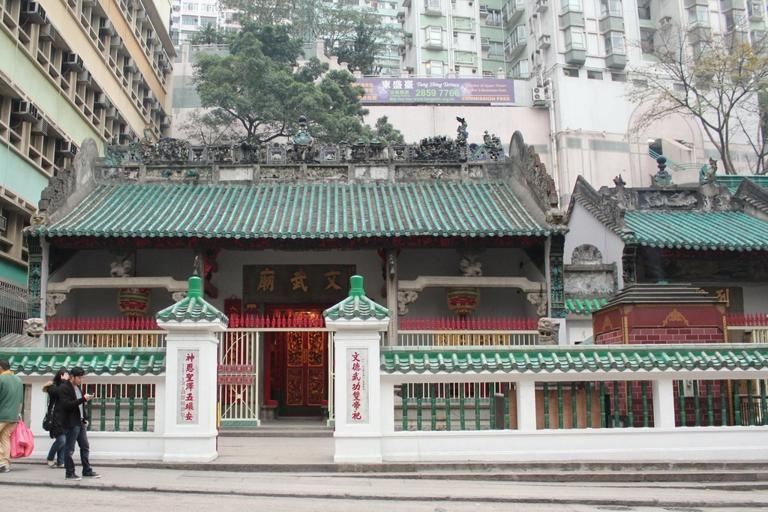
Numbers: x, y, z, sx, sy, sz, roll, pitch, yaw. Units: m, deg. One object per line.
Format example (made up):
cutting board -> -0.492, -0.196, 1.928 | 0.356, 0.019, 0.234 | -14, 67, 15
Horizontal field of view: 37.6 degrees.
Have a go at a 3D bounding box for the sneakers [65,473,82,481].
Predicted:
sneakers -> -6.787, 4.830, 24.608 | 0.311, 0.111, 0.137 | 1, -6, 3

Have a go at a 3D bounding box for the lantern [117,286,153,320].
lantern -> -7.091, 1.265, 31.862 | 0.869, 0.879, 0.866 | -10, -21, 19

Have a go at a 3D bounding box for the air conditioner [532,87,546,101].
air conditioner -> 7.283, -7.497, 52.623 | 0.739, 0.629, 0.559 | -8, 4, 10

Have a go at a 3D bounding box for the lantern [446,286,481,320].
lantern -> 2.150, 1.273, 31.966 | 0.912, 0.887, 0.901 | -9, -18, 36

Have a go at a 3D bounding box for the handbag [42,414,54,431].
handbag -> -7.429, 3.710, 25.090 | 0.295, 0.387, 0.148 | -1, -3, 32

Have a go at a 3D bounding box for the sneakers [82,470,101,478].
sneakers -> -6.445, 4.794, 24.771 | 0.424, 0.166, 0.150 | 2, -9, -3
